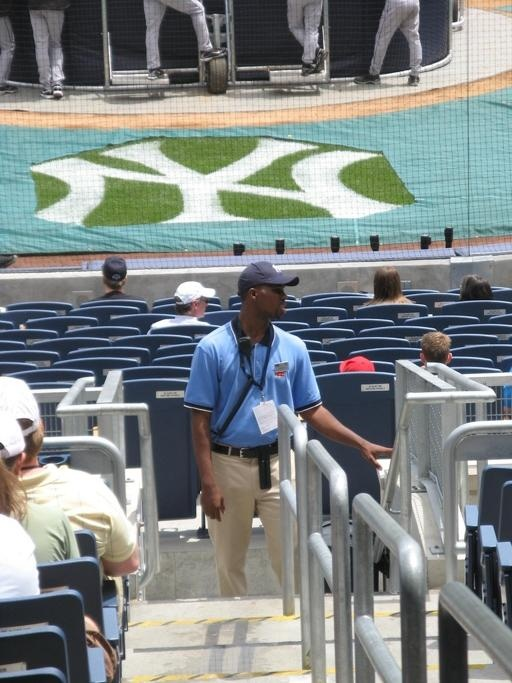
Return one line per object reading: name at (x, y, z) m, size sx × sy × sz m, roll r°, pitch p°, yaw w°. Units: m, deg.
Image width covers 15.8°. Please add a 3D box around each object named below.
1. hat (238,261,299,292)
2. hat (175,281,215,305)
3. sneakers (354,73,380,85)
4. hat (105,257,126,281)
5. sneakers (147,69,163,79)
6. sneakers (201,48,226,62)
hat at (0.076, -0.433, 12.008) m, size 0.307 × 0.175 × 0.205 m, roll -7°, pitch 6°, yaw 1°
hat at (-0.506, -0.389, 15.248) m, size 0.287 × 0.151 × 0.188 m, roll -13°, pitch 25°, yaw -19°
sneakers at (1.820, -4.252, 30.120) m, size 0.406 × 0.192 × 0.172 m, roll 5°, pitch -1°, yaw 0°
hat at (-1.293, -0.651, 16.788) m, size 0.204 × 0.220 × 0.322 m, roll -3°, pitch 5°, yaw -4°
sneakers at (-1.623, -4.298, 29.786) m, size 0.266 × 0.124 × 0.111 m, roll -11°, pitch 23°, yaw -6°
sneakers at (-0.674, -4.464, 28.778) m, size 0.415 × 0.211 × 0.160 m, roll -15°, pitch 11°, yaw 2°
